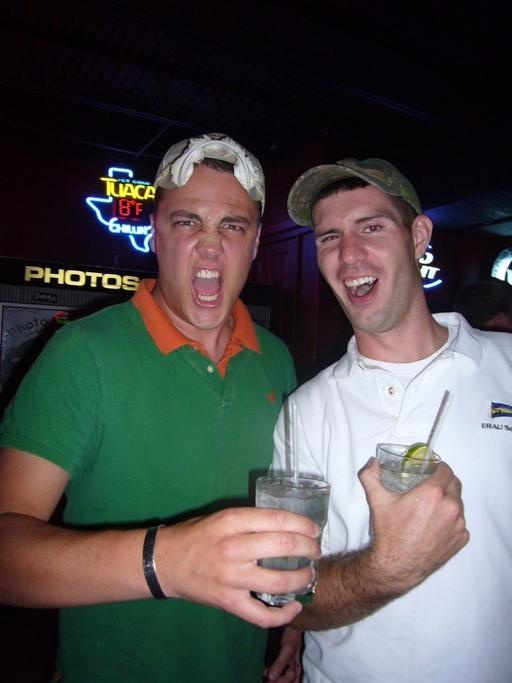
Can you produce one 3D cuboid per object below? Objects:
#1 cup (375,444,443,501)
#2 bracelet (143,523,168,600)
[{"bbox_3d":[0.436,0.382,1.591,0.164,0.104,0.155,9,-3,1],"label":"cup"},{"bbox_3d":[-0.248,0.521,1.300,0.034,0.127,0.125,-5,-1,-9],"label":"bracelet"}]
